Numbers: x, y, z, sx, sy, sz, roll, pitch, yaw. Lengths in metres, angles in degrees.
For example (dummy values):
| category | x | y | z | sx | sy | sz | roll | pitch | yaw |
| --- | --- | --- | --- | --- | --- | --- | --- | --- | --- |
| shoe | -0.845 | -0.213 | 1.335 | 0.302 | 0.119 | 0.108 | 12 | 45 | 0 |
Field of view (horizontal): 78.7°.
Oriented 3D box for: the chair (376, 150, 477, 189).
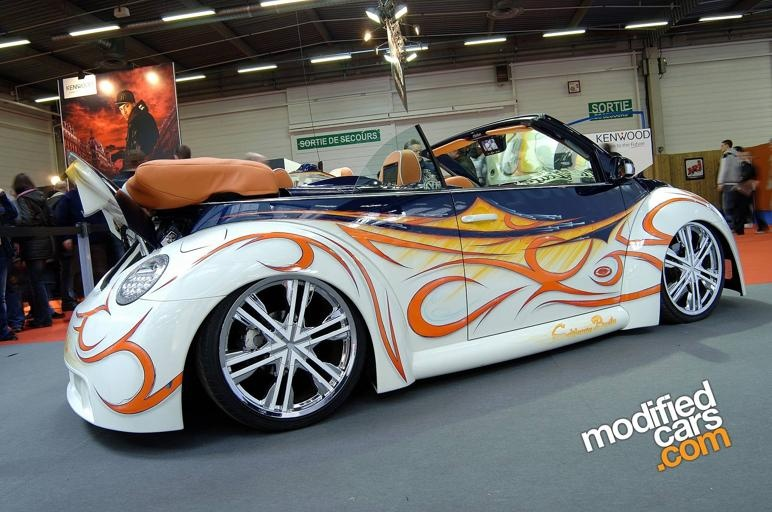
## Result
| category | x | y | z | sx | sy | sz | roll | pitch | yaw |
| --- | --- | --- | --- | --- | --- | --- | --- | --- | --- |
| chair | 0.312 | -0.551 | 3.137 | 0.549 | 0.213 | 0.313 | -3 | 4 | -16 |

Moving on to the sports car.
| category | x | y | z | sx | sy | sz | roll | pitch | yaw |
| --- | --- | --- | --- | --- | --- | --- | --- | --- | --- |
| sports car | 0.476 | 0.102 | 3.603 | 4.458 | 1.389 | 2.104 | -7 | 5 | -23 |
